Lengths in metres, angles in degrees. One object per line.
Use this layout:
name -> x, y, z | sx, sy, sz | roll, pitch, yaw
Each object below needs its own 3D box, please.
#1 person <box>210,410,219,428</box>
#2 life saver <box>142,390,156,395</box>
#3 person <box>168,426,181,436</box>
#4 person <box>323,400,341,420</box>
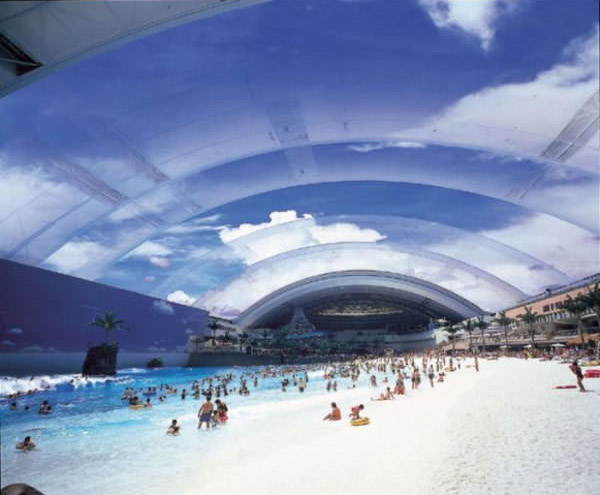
person -> -4.334, 8.793, 18.259 | 0.473, 1.047, 0.404 | -1, 14, -1
life saver -> -13.452, 13.015, 31.588 | 1.069, 0.245, 1.041 | 2, -8, -8
person -> -6.055, 8.800, 17.000 | 0.555, 0.351, 0.769 | 4, -20, -22
person -> 1.613, 8.344, 18.177 | 0.850, 0.872, 2.318 | -5, -19, 1
